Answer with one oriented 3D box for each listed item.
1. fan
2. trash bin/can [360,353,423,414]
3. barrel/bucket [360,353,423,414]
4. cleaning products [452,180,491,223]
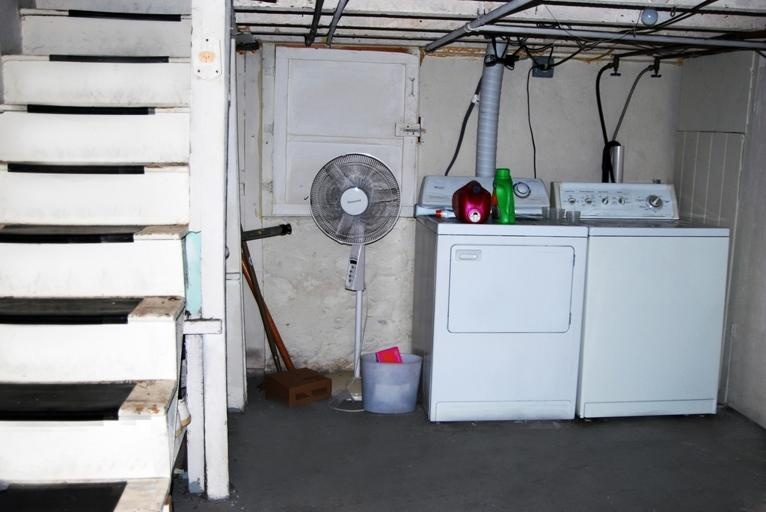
[{"bbox_3d":[-0.144,0.182,5.324,0.571,1.838,0.504,2,9,22],"label":"fan"},{"bbox_3d":[0.052,0.940,5.401,0.494,0.373,0.277,1,4,-5],"label":"trash bin/can"},{"bbox_3d":[0.054,0.915,5.387,0.619,0.453,0.343,1,-5,-2],"label":"barrel/bucket"},{"bbox_3d":[0.624,-0.372,5.116,0.226,0.298,0.306,2,1,-5],"label":"cleaning products"}]
